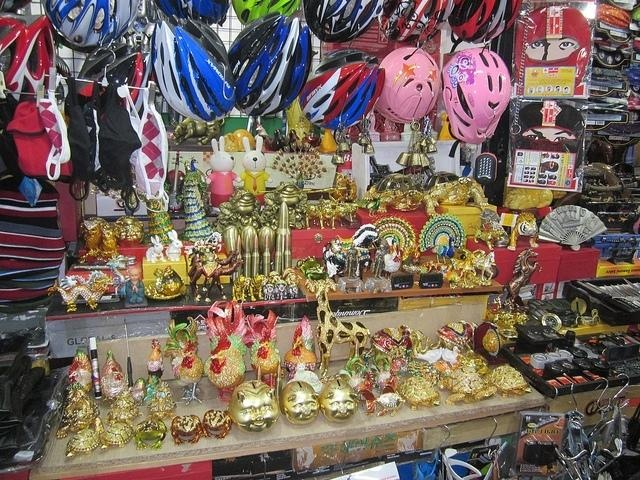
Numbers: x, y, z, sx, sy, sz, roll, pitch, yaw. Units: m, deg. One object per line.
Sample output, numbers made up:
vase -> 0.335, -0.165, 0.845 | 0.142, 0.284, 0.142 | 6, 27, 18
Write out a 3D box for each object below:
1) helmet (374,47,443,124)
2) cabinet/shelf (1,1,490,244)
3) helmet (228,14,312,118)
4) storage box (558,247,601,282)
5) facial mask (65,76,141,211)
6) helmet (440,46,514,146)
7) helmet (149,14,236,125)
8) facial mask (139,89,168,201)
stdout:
helmet -> 0.551, -0.942, 3.393 | 0.351, 0.500, 0.449 | 12, -18, -7
cabinet/shelf -> -0.240, -0.966, 3.419 | 2.669, 0.723, 1.601 | 13, 14, -13
helmet -> -0.274, -0.993, 2.977 | 0.371, 0.518, 0.245 | 30, 14, -7
storage box -> 1.853, 0.173, 3.753 | 0.331, 0.274, 0.209 | -2, 9, -11
facial mask -> -1.140, -0.549, 2.737 | 0.346, 0.570, 0.283 | -7, 9, -25
helmet -> 0.937, -1.009, 3.430 | 0.381, 0.525, 0.594 | -2, 44, -6
helmet -> -0.650, -0.940, 2.883 | 0.337, 0.535, 0.321 | 2, 32, 23
facial mask -> -0.899, -0.517, 2.807 | 0.146, 0.583, 0.216 | -6, 8, -20
